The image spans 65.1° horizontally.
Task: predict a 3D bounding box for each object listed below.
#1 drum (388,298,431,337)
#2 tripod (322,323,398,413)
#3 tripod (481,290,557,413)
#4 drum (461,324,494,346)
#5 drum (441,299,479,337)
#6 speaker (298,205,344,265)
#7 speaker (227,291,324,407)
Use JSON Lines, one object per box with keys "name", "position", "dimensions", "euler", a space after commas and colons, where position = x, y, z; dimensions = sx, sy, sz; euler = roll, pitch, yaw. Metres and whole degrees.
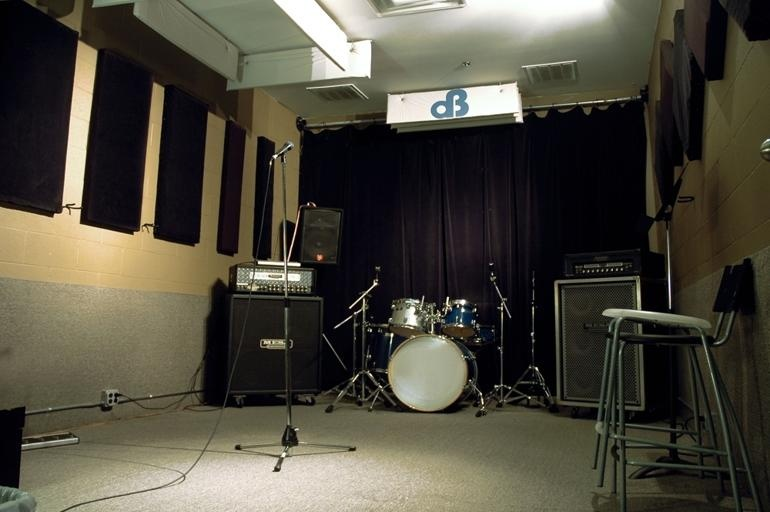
{"name": "drum", "position": [0.253, 0.637, 6.156], "dimensions": [0.381, 0.247, 0.399], "euler": [9, -21, 4]}
{"name": "tripod", "position": [-0.187, 1.213, 6.936], "dimensions": [0.873, 1.226, 0.806], "euler": [-3, -8, 10]}
{"name": "tripod", "position": [1.461, 0.990, 6.657], "dimensions": [0.661, 1.247, 0.998], "euler": [-1, -7, 10]}
{"name": "drum", "position": [1.019, 0.832, 6.307], "dimensions": [0.206, 0.136, 0.274], "euler": [0, -19, 3]}
{"name": "drum", "position": [0.758, 0.612, 6.181], "dimensions": [0.343, 0.270, 0.359], "euler": [3, -24, 1]}
{"name": "speaker", "position": [-0.798, -0.243, 7.426], "dimensions": [0.597, 0.920, 0.606], "euler": [4, -1, -12]}
{"name": "speaker", "position": [-1.181, 0.927, 6.718], "dimensions": [1.136, 1.434, 1.004], "euler": [1, -1, -11]}
